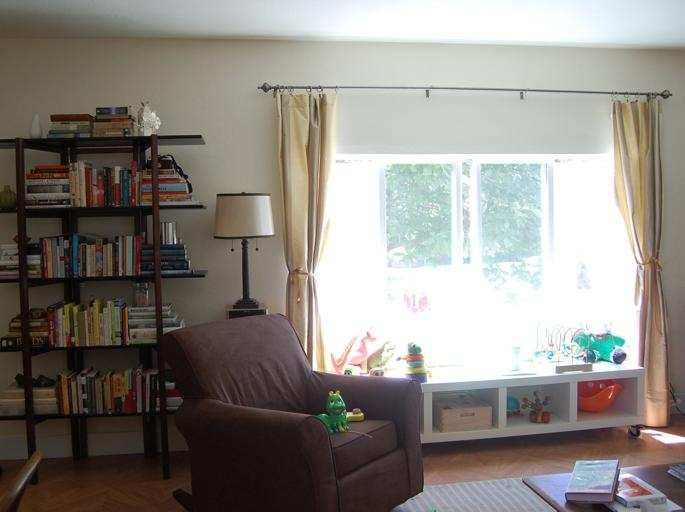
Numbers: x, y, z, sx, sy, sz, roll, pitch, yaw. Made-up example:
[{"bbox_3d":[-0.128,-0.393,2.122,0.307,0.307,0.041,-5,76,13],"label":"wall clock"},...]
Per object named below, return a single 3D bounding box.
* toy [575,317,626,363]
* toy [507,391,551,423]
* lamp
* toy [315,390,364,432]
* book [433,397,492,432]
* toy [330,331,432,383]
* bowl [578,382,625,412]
[{"bbox_3d":[2.043,0.722,4.840,0.414,0.264,0.254,0,7,8],"label":"toy"},{"bbox_3d":[1.435,1.189,4.727,0.181,0.203,0.411,2,-9,-11],"label":"toy"},{"bbox_3d":[-0.720,-0.020,4.429,0.412,0.881,0.426,-3,7,-12],"label":"lamp"},{"bbox_3d":[-0.022,0.876,3.639,0.293,0.192,0.192,-2,-3,-36],"label":"toy"},{"bbox_3d":[0.903,1.202,4.591,0.447,0.170,0.300,-2,7,-2],"label":"book"},{"bbox_3d":[0.236,0.759,4.566,0.894,0.417,0.311,2,-4,0],"label":"toy"},{"bbox_3d":[2.028,1.094,4.786,0.290,0.142,0.234,3,-6,-39],"label":"bowl"}]
